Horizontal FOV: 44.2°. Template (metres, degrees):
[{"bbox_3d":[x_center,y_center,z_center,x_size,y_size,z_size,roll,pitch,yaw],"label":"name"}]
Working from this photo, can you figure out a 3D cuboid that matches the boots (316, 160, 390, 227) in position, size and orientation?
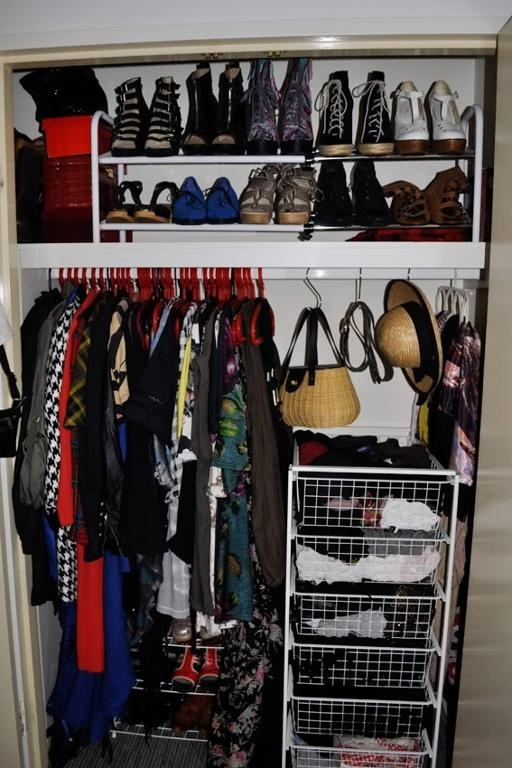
[{"bbox_3d":[0.263,-0.517,1.789,0.133,0.107,0.267,-2,41,3],"label":"boots"}]

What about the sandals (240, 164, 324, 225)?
[{"bbox_3d":[0.062,-0.503,1.742,0.128,0.091,0.244,1,40,4],"label":"sandals"}]

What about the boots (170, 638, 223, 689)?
[{"bbox_3d":[-0.188,0.890,1.987,0.083,0.129,0.277,0,-20,4],"label":"boots"}]

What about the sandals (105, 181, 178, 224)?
[{"bbox_3d":[-0.324,-0.491,1.815,0.135,0.082,0.229,0,25,-1],"label":"sandals"}]

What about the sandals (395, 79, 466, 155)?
[{"bbox_3d":[0.443,-0.689,1.638,0.134,0.282,0.098,-3,-36,8],"label":"sandals"}]

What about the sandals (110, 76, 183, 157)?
[{"bbox_3d":[-0.295,-0.711,1.771,0.144,0.307,0.117,-1,-33,0],"label":"sandals"}]

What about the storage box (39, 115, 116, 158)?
[{"bbox_3d":[-0.524,-0.690,1.769,0.120,0.093,0.132,-1,8,6],"label":"storage box"}]

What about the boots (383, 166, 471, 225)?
[{"bbox_3d":[0.469,-0.492,1.717,0.139,0.084,0.225,1,31,8],"label":"boots"}]

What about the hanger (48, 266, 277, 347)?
[{"bbox_3d":[-0.215,-0.249,1.836,0.752,0.332,0.254,1,4,4],"label":"hanger"}]
